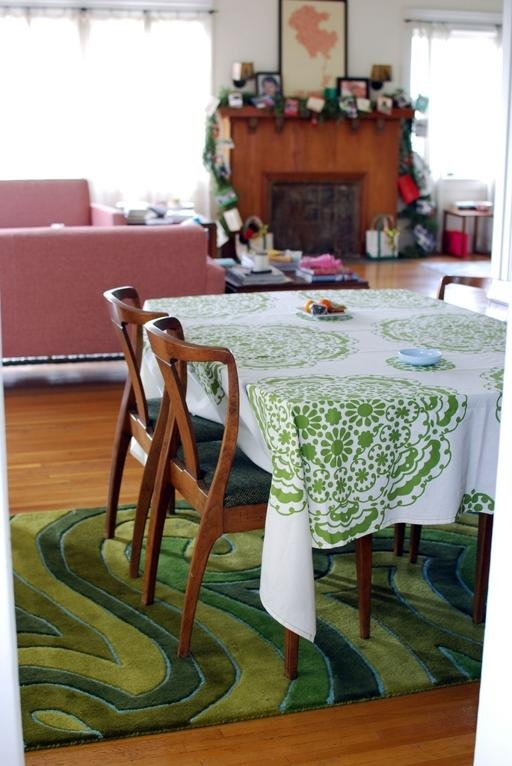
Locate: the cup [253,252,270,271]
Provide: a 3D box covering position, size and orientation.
[{"bbox_3d":[0.036,-0.842,4.241,0.118,0.115,0.104,-2,15,-5],"label":"cup"}]

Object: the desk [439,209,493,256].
[{"bbox_3d":[2.995,-2.120,8.644,0.649,0.635,0.651,-3,18,-6],"label":"desk"}]

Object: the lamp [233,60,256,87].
[{"bbox_3d":[-0.169,-3.907,7.688,0.266,0.340,0.268,-18,30,-32],"label":"lamp"}]

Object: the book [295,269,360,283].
[{"bbox_3d":[0.469,-0.734,4.184,0.493,0.094,0.290,7,13,21],"label":"book"}]

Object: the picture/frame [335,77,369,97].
[{"bbox_3d":[1.224,-3.868,7.969,0.303,0.301,0.031,-3,8,-13],"label":"picture/frame"}]

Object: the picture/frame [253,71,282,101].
[{"bbox_3d":[0.141,-3.773,7.743,0.452,0.520,0.068,-1,-7,-10],"label":"picture/frame"}]

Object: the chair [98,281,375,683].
[{"bbox_3d":[-0.055,0.309,1.720,0.381,0.690,0.954,-5,16,-18],"label":"chair"}]
